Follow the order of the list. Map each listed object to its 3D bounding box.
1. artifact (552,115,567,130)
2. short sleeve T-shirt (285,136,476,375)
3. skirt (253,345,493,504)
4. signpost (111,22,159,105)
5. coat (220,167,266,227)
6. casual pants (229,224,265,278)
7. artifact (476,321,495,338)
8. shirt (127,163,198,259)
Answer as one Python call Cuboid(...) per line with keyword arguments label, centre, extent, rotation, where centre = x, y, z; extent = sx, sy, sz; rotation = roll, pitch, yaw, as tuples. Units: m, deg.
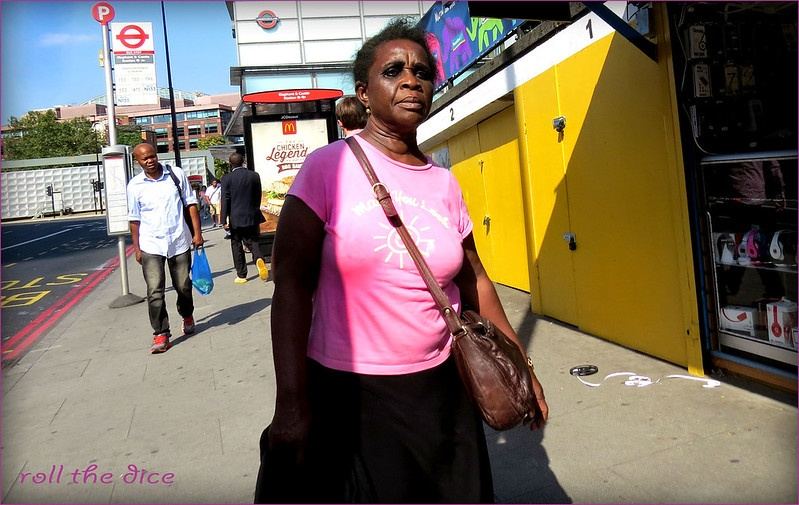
Cuboid(label="artifact", centre=(1.971, -1.583, 5.912), extent=(0.148, 0.164, 0.123), rotation=(5, 6, 40))
Cuboid(label="short sleeve T-shirt", centre=(-0.109, 0.053, 2.432), extent=(1.215, 1.238, 0.658), rotation=(0, 2, -31))
Cuboid(label="skirt", centre=(-0.130, 0.597, 2.763), extent=(1.217, 0.851, 0.699), rotation=(-1, -4, -7))
Cuboid(label="signpost", centre=(-6.553, -4.663, 11.871), extent=(1.069, 1.917, 2.915), rotation=(-11, 15, -25))
Cuboid(label="coat", centre=(-3.303, -1.177, 10.264), extent=(1.106, 1.590, 0.681), rotation=(-4, 15, -14))
Cuboid(label="casual pants", centre=(-3.431, -0.020, 10.386), extent=(0.319, 1.117, 0.243), rotation=(-5, -6, 11))
Cuboid(label="artifact", centre=(0.449, 0.400, 2.503), extent=(0.086, 0.067, 0.031), rotation=(16, -34, -31))
Cuboid(label="shirt", centre=(-3.225, -0.565, 6.607), extent=(0.851, 1.220, 0.449), rotation=(-12, 15, -31))
